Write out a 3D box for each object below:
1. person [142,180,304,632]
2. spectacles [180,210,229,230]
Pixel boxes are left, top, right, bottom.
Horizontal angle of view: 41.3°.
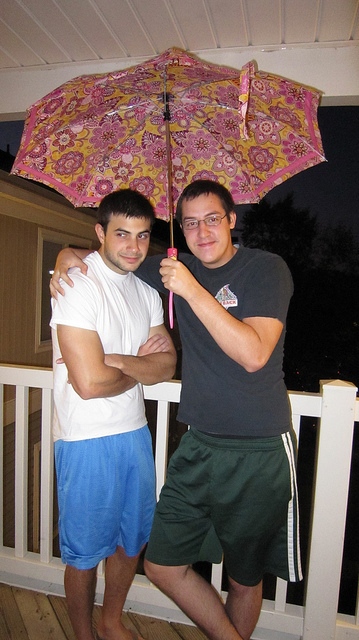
[{"bbox_3d":[0.211,0.465,2.035,0.692,2.079,0.639,4,5,-4],"label":"person"},{"bbox_3d":[0.098,-0.406,1.966,0.172,0.075,0.064,5,6,2],"label":"spectacles"}]
